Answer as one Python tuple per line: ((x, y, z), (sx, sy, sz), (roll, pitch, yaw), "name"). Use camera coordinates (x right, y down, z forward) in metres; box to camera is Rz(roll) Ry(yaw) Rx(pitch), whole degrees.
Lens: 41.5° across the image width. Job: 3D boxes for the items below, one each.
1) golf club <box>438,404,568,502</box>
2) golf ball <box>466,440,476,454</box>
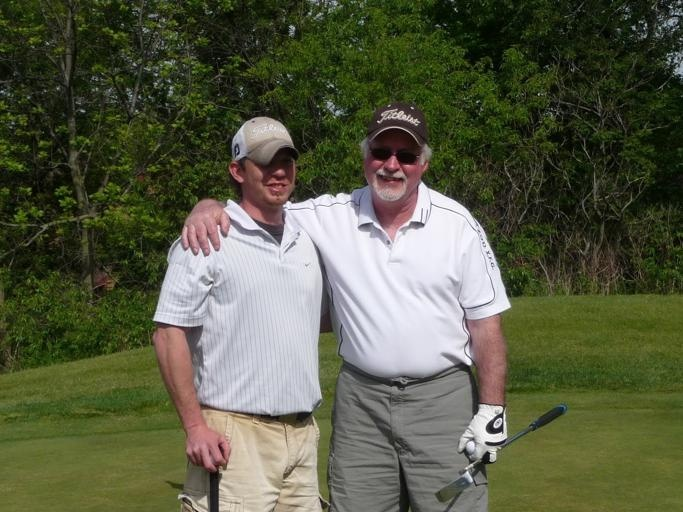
((1.727, 2.188, 9.788), (2.167, 0.237, 0.335), (-28, 49, -35), "golf club")
((1.265, 1.898, 8.931), (0.103, 0.129, 0.107), (0, 2, 0), "golf ball")
